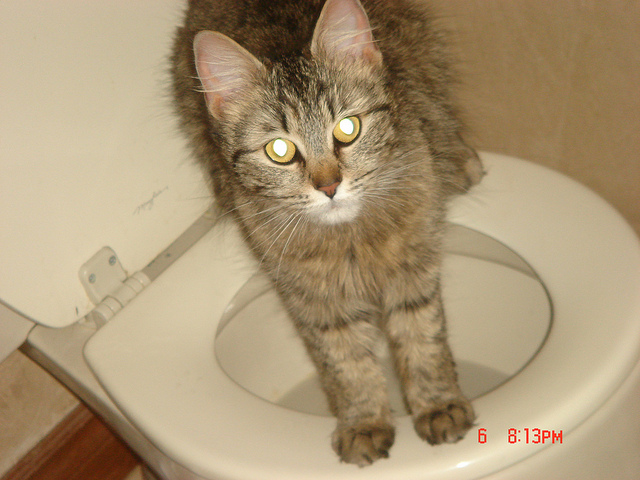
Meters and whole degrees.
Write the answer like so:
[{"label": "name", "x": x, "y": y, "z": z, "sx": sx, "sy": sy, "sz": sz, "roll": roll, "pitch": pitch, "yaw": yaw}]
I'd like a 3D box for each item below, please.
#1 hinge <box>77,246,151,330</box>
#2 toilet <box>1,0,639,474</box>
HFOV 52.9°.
[{"label": "hinge", "x": -0.366, "y": 0.089, "z": 1.130, "sx": 0.095, "sy": 0.047, "sz": 0.089, "roll": -46, "pitch": -39, "yaw": -26}, {"label": "toilet", "x": -0.018, "y": 0.000, "z": 1.123, "sx": 0.457, "sy": 0.473, "sz": 0.816, "roll": 15, "pitch": -25, "yaw": 39}]
